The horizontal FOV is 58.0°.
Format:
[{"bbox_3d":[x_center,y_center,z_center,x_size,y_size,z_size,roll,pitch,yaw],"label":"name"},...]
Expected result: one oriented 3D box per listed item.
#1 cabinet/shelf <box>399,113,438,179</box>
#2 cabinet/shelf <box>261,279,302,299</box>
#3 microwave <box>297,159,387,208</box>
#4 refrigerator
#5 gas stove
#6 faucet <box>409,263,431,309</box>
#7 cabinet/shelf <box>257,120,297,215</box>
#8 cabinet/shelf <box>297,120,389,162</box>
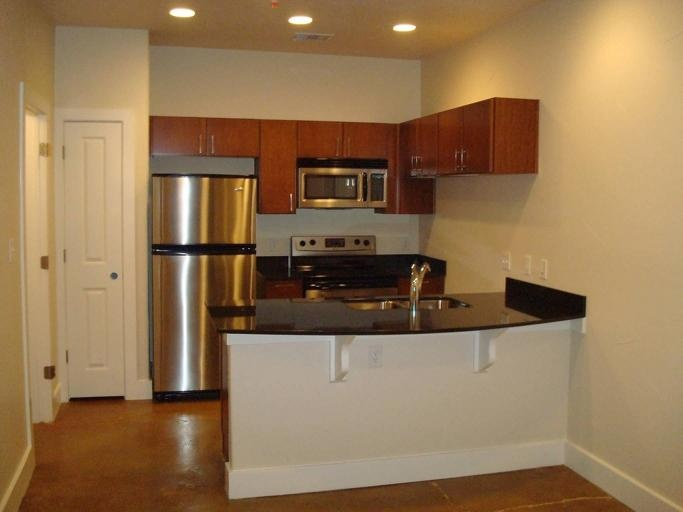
[{"bbox_3d":[0.700,-0.983,5.588,0.228,0.577,0.660,-2,4,-17],"label":"cabinet/shelf"},{"bbox_3d":[-0.551,0.293,5.748,0.385,0.199,0.135,1,13,1],"label":"cabinet/shelf"},{"bbox_3d":[0.003,-0.645,6.167,0.879,0.466,0.489,0,-8,0],"label":"microwave"},{"bbox_3d":[-1.214,0.259,5.431,0.906,1.940,0.408,-1,13,-6],"label":"refrigerator"},{"bbox_3d":[0.006,0.029,6.087,1.040,0.395,0.765,-1,13,-5],"label":"gas stove"},{"bbox_3d":[0.545,0.171,4.357,0.118,0.337,0.451,2,13,7],"label":"faucet"},{"bbox_3d":[-0.602,-0.847,5.803,0.371,0.851,0.148,-1,13,-4],"label":"cabinet/shelf"},{"bbox_3d":[0.056,-1.146,6.074,0.970,0.358,0.344,4,12,14],"label":"cabinet/shelf"}]
